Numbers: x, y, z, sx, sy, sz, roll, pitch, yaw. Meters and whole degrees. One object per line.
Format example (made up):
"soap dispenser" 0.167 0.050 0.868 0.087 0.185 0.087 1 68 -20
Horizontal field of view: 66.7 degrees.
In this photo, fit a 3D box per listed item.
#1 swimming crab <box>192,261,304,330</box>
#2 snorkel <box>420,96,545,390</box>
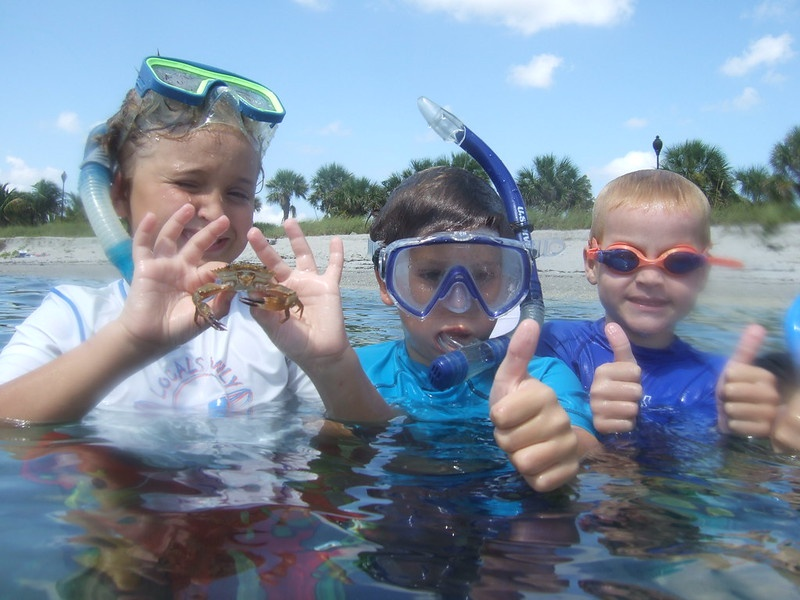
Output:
"swimming crab" -0.551 -0.039 2.163 0.348 0.192 0.259 8 15 -3
"snorkel" 0.414 -0.289 2.968 0.535 1.736 0.547 1 10 -24
